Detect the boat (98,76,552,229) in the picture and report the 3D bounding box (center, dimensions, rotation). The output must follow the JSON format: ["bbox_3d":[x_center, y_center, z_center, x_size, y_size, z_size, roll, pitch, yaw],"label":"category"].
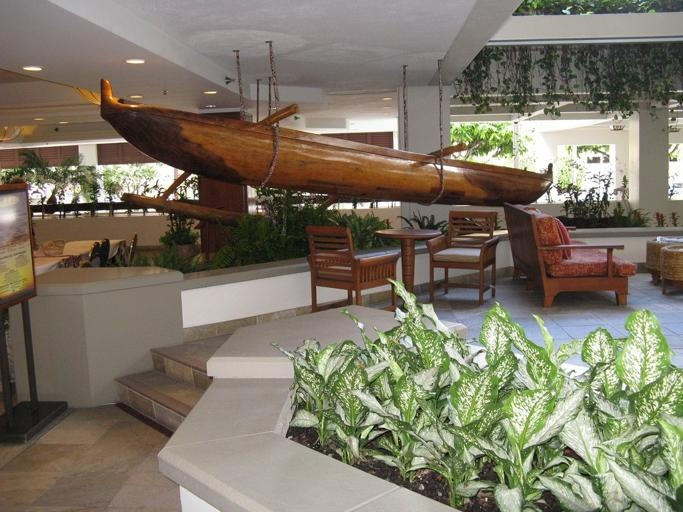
[{"bbox_3d":[0.207,-1.001,5.572,4.816,0.858,2.038,2,-4,-34],"label":"boat"}]

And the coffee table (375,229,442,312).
[{"bbox_3d":[0.832,0.032,6.019,0.663,0.789,0.677,5,21,24],"label":"coffee table"}]

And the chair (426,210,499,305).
[{"bbox_3d":[1.575,0.004,6.314,0.892,1.167,0.910,-8,9,-43],"label":"chair"}]
